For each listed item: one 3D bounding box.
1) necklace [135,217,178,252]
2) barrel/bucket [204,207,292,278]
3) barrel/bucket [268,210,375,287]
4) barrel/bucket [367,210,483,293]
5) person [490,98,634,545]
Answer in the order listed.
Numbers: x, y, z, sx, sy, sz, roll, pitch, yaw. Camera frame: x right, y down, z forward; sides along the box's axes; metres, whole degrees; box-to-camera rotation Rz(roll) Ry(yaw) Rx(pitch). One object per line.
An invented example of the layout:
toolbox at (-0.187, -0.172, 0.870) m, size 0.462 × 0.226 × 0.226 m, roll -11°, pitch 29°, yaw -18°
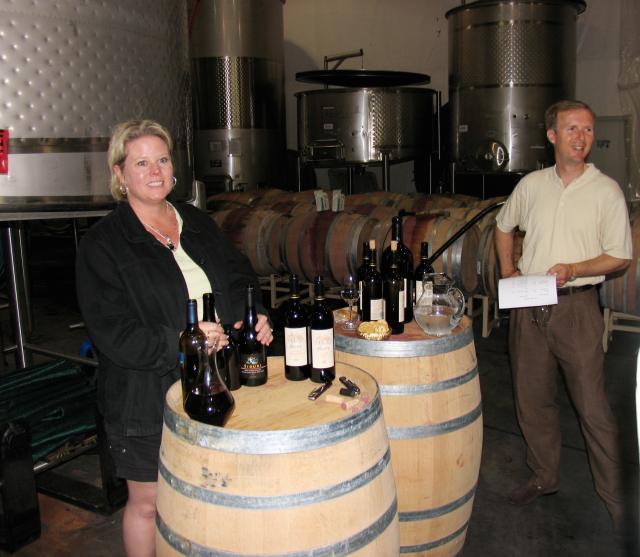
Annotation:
necklace at (-0.683, -0.176, 2.579) m, size 0.129 × 0.034 × 0.112 m, roll 38°, pitch 4°, yaw 0°
barrel/bucket at (-0.696, -0.442, 6.493) m, size 1.046 × 0.849 × 0.773 m, roll 3°, pitch 0°, yaw 33°
barrel/bucket at (0.115, -0.301, 5.975) m, size 0.963 × 0.791 × 0.716 m, roll 12°, pitch 40°, yaw 36°
barrel/bucket at (0.903, -0.298, 5.277) m, size 0.952 × 0.765 × 0.760 m, roll 16°, pitch 26°, yaw 39°
person at (1.216, 0.159, 3.110) m, size 0.704 × 2.059 × 0.468 m, roll 5°, pitch 13°, yaw 30°
